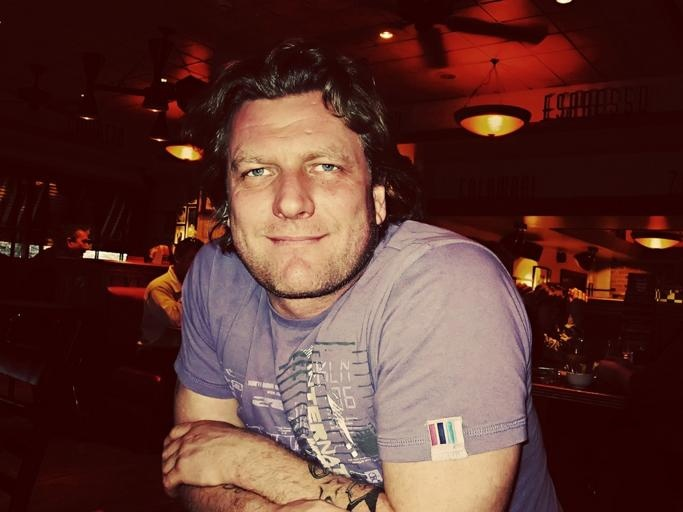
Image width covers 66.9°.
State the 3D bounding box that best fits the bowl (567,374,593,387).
[{"bbox_3d":[1.817,0.945,3.946,0.119,0.059,0.122,2,-11,0],"label":"bowl"}]

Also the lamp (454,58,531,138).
[{"bbox_3d":[2.185,-2.326,7.383,0.922,0.999,0.951,2,-16,9],"label":"lamp"}]
